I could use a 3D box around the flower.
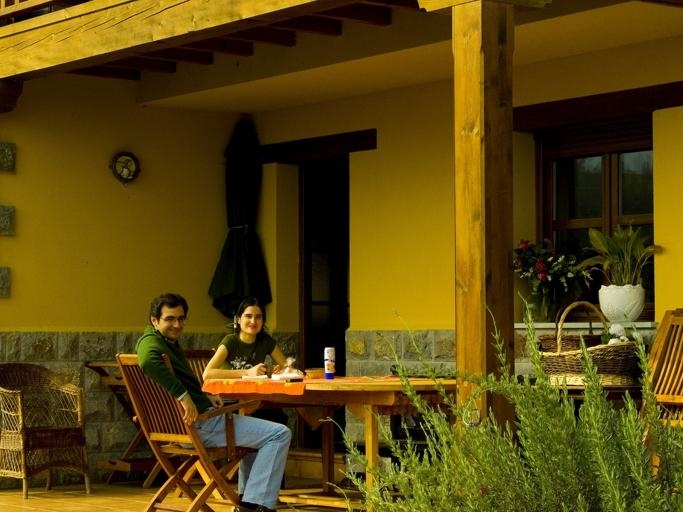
[{"bbox_3d":[1.541,0.071,7.484,0.363,0.337,0.317,-3,12,-39],"label":"flower"}]

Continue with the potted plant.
[{"bbox_3d":[2.024,0.129,7.026,0.641,0.737,0.628,1,-9,-5],"label":"potted plant"}]

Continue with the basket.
[{"bbox_3d":[1.712,0.629,6.499,0.651,0.526,0.512,-2,-7,30],"label":"basket"}]

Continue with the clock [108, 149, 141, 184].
[{"bbox_3d":[-1.962,-0.824,8.624,0.266,0.291,0.054,-12,9,-41],"label":"clock"}]
